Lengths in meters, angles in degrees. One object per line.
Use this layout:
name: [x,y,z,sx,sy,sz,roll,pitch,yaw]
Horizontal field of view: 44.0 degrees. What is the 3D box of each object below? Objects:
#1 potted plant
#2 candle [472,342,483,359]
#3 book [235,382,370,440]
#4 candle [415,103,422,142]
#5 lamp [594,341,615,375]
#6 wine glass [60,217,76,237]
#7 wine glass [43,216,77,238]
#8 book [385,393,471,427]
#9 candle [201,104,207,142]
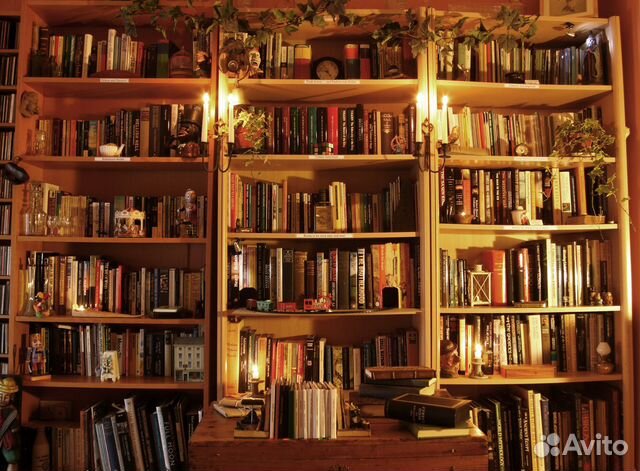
potted plant: [1.628,-0.391,4.775,0.482,0.649,0.245,-2,-4,9]
candle: [0.946,0.691,4.763,0.047,0.089,0.116,-2,-3,11]
book: [-0.060,0.899,4.201,0.500,0.184,0.367,1,-7,-2]
candle: [0.586,-0.674,4.711,0.039,0.223,0.044,-2,-4,5]
lamp: [1.700,0.728,4.753,0.103,0.182,0.076,-2,-4,11]
wine glass: [-1.506,-0.046,4.819,0.104,0.134,0.101,-1,1,-3]
wine glass: [-1.552,-0.060,4.800,0.172,0.118,0.049,0,-4,-19]
book: [0.581,0.898,4.227,0.277,0.079,0.197,0,-2,31]
candle: [-0.676,-0.661,4.667,0.035,0.202,0.124,-1,-3,-9]
